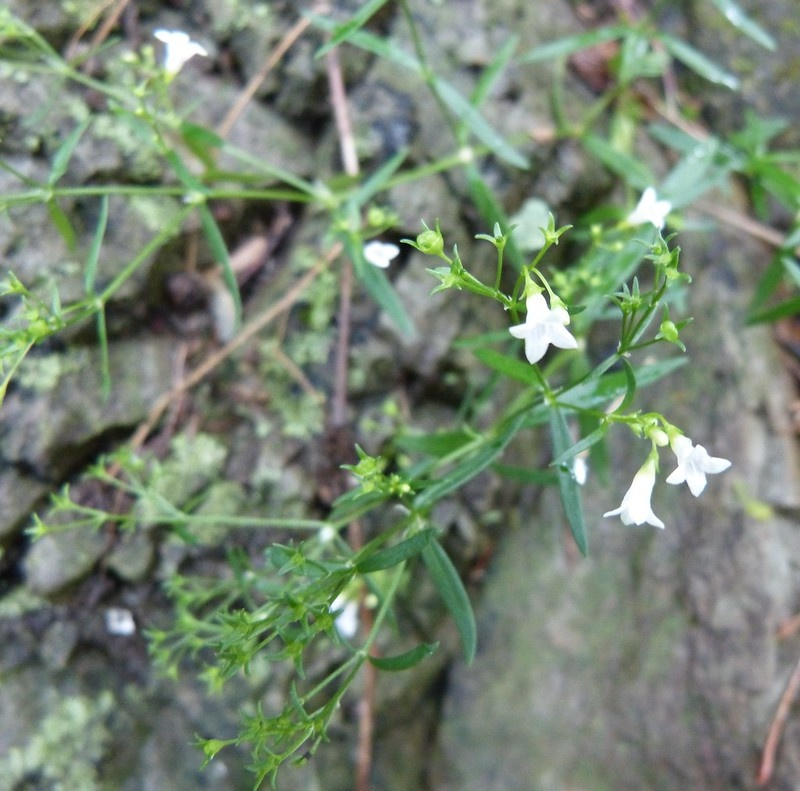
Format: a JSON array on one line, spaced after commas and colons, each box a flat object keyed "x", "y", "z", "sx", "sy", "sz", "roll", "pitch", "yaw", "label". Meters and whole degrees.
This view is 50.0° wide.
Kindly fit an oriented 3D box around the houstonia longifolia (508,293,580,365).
[{"x": 0.353, "y": -0.182, "z": 1.981, "sx": 0.088, "sy": 0.049, "sz": 0.122, "roll": 7, "pitch": 50, "yaw": -22, "label": "houstonia longifolia"}]
